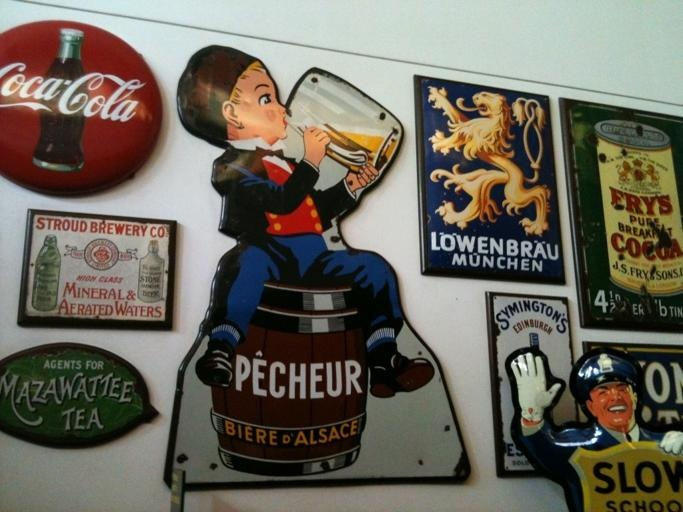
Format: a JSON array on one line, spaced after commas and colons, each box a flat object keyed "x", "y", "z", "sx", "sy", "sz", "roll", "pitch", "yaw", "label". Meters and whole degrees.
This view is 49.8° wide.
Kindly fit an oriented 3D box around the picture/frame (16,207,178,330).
[{"x": -0.953, "y": 0.065, "z": 2.801, "sx": 0.400, "sy": 0.364, "sz": 0.043, "roll": 2, "pitch": -11, "yaw": -8, "label": "picture/frame"}]
